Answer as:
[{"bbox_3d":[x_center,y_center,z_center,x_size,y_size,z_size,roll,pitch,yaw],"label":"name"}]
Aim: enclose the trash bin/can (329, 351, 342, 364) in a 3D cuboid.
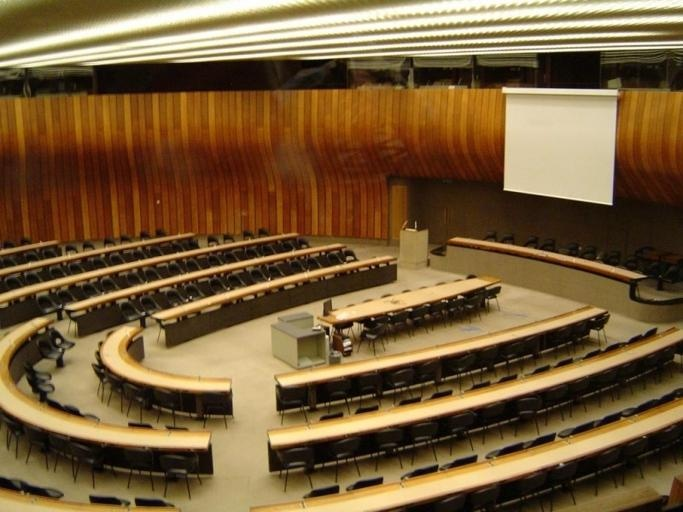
[{"bbox_3d":[-0.118,1.993,11.056,0.218,0.212,0.219,-1,8,-6],"label":"trash bin/can"}]
